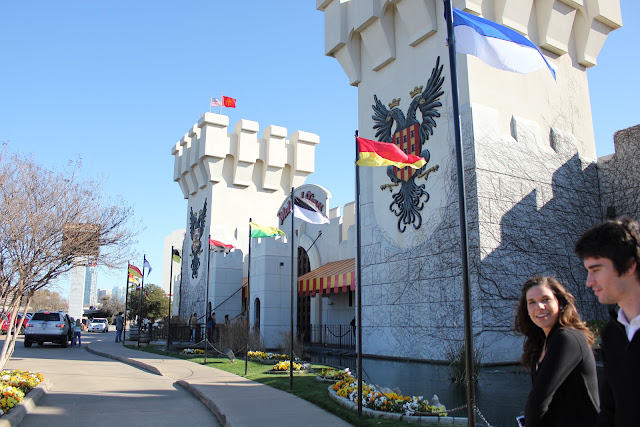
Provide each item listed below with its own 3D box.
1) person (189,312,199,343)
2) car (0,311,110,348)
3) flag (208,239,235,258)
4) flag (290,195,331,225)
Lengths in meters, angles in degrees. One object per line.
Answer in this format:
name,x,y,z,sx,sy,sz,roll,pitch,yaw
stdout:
person,-7.487,6.788,31.099,0.501,1.670,2.553,4,-16,-14
car,-14.430,6.273,28.455,2.118,1.945,3.683,3,-16,-12
flag,-6.253,1.985,33.154,1.471,1.046,2.306,3,-17,-12
flag,-0.391,-0.110,16.838,0.813,1.054,0.589,-35,-38,-23
